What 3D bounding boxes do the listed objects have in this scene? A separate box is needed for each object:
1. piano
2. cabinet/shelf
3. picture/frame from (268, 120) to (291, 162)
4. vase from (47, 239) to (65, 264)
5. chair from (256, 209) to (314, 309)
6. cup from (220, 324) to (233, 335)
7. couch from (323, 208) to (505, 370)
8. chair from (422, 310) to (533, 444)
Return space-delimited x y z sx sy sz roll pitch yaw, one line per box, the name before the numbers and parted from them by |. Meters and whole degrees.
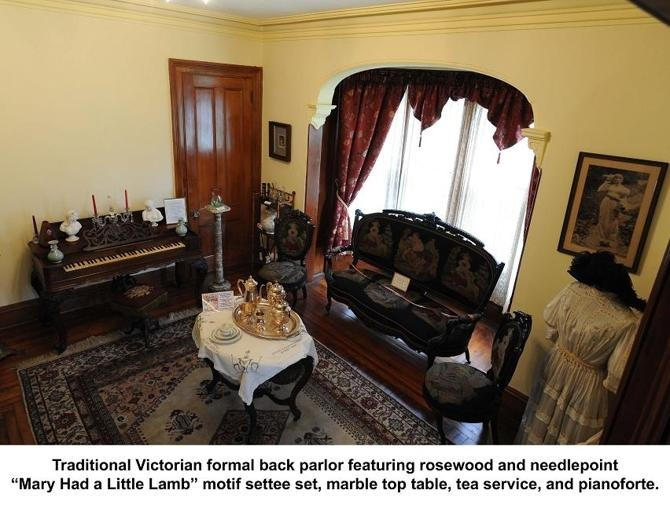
piano | -2.170 0.165 4.536 1.550 1.054 0.655 -16 32 -41
cabinet/shelf | -0.726 -0.440 5.364 0.366 1.296 0.681 -14 27 -34
picture/frame | -0.657 -1.409 5.241 0.080 0.465 0.429 -19 33 -39
vase | -2.565 -0.034 3.967 0.129 0.205 0.147 -12 12 -33
chair | -0.573 0.066 4.992 0.631 1.040 0.706 -21 32 -38
cup | -0.835 0.572 3.324 0.091 0.065 0.108 -12 12 -33
couch | 0.658 0.293 4.475 0.879 1.216 1.931 -22 31 -32
chair | 1.038 0.918 3.323 0.697 1.049 0.650 8 16 22
